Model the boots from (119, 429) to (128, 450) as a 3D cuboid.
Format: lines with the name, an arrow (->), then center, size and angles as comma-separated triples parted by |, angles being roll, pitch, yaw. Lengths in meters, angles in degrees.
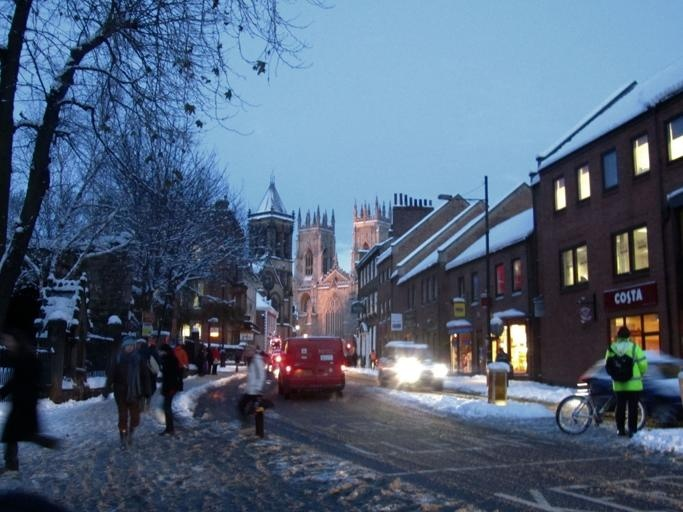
boots -> -4.197, 3.559, 13.371 | 0.209, 0.375, 0.216 | 1, -10, -13

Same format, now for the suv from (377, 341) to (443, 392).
suv -> 3.069, 4.918, 30.898 | 1.748, 1.956, 3.725 | 2, -6, -30

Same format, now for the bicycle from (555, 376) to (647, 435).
bicycle -> 5.705, 3.456, 15.731 | 1.664, 1.364, 0.983 | -1, -8, 7

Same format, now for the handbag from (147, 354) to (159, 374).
handbag -> -4.897, 2.726, 17.561 | 0.104, 0.432, 0.390 | -17, -13, 6
